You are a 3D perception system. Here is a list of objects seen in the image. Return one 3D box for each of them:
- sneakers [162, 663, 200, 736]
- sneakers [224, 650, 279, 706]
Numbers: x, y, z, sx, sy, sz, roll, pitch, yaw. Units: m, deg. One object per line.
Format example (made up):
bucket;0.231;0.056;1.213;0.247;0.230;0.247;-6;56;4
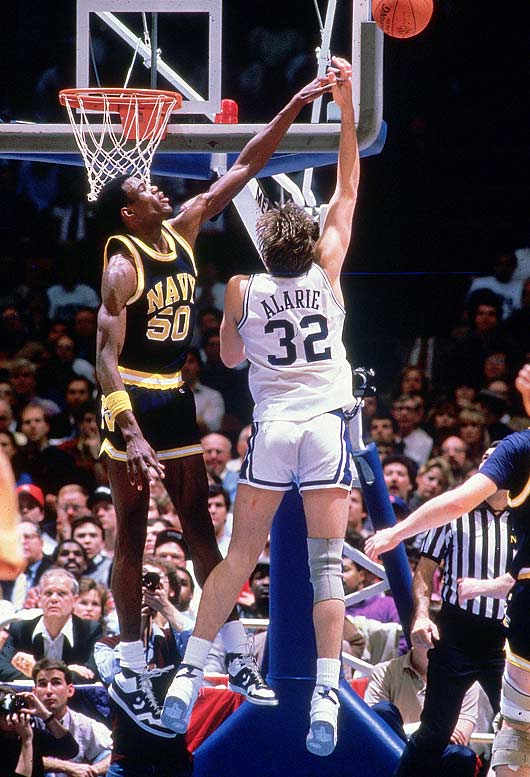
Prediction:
sneakers;-0.328;1.256;4.438;0.118;0.307;0.137;11;-29;14
sneakers;-0.060;1.255;4.754;0.138;0.210;0.327;-2;5;-38
